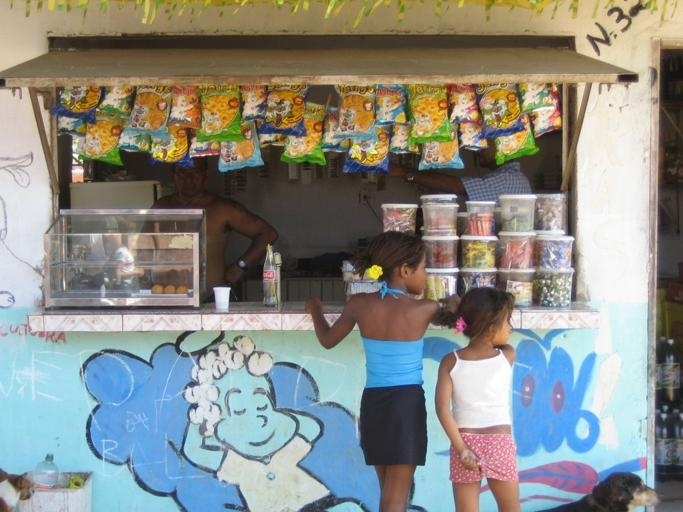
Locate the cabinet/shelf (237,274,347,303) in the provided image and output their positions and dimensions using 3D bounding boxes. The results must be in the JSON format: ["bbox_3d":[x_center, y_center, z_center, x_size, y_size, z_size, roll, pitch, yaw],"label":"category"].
[{"bbox_3d":[-0.310,0.339,9.089,0.741,0.228,0.350,-3,-10,-1],"label":"cabinet/shelf"}]

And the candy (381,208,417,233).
[{"bbox_3d":[0.380,-0.245,6.572,0.213,0.178,0.242,-1,0,-1],"label":"candy"}]

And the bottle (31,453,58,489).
[{"bbox_3d":[-1.978,1.425,6.817,0.179,0.317,0.193,6,2,0],"label":"bottle"}]

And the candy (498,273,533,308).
[{"bbox_3d":[1.136,0.226,6.676,0.204,0.212,0.213,1,-4,-4],"label":"candy"}]

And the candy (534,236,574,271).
[{"bbox_3d":[1.375,-0.020,6.587,0.217,0.209,0.225,1,-1,-3],"label":"candy"}]

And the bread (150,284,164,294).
[{"bbox_3d":[-1.193,0.207,6.581,0.058,0.061,0.059,-11,14,-41],"label":"bread"}]

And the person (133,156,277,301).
[{"bbox_3d":[-1.035,-0.211,7.555,1.155,1.607,0.498,-3,-14,2],"label":"person"}]

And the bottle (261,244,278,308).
[{"bbox_3d":[-0.468,0.124,6.700,0.094,0.364,0.194,-1,0,-4],"label":"bottle"}]

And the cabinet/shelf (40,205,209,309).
[{"bbox_3d":[-1.460,0.070,6.809,0.945,0.655,0.556,0,-13,-14],"label":"cabinet/shelf"}]

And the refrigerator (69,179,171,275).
[{"bbox_3d":[-1.645,-0.236,7.575,0.733,0.545,0.429,-2,5,-15],"label":"refrigerator"}]

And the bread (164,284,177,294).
[{"bbox_3d":[-1.105,0.214,6.592,0.059,0.074,0.059,4,6,8],"label":"bread"}]

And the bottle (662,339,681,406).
[{"bbox_3d":[2.473,0.862,7.668,0.152,0.495,0.331,-1,0,18],"label":"bottle"}]

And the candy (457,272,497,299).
[{"bbox_3d":[0.875,0.188,6.587,0.167,0.167,0.174,2,-8,-5],"label":"candy"}]

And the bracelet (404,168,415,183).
[{"bbox_3d":[0.487,-0.575,7.181,0.053,0.026,0.079,2,-40,-7],"label":"bracelet"}]

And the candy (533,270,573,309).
[{"bbox_3d":[1.378,0.217,6.653,0.225,0.193,0.243,3,-6,-7],"label":"candy"}]

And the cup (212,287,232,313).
[{"bbox_3d":[-0.789,0.278,6.676,0.135,0.159,0.143,2,-2,0],"label":"cup"}]
